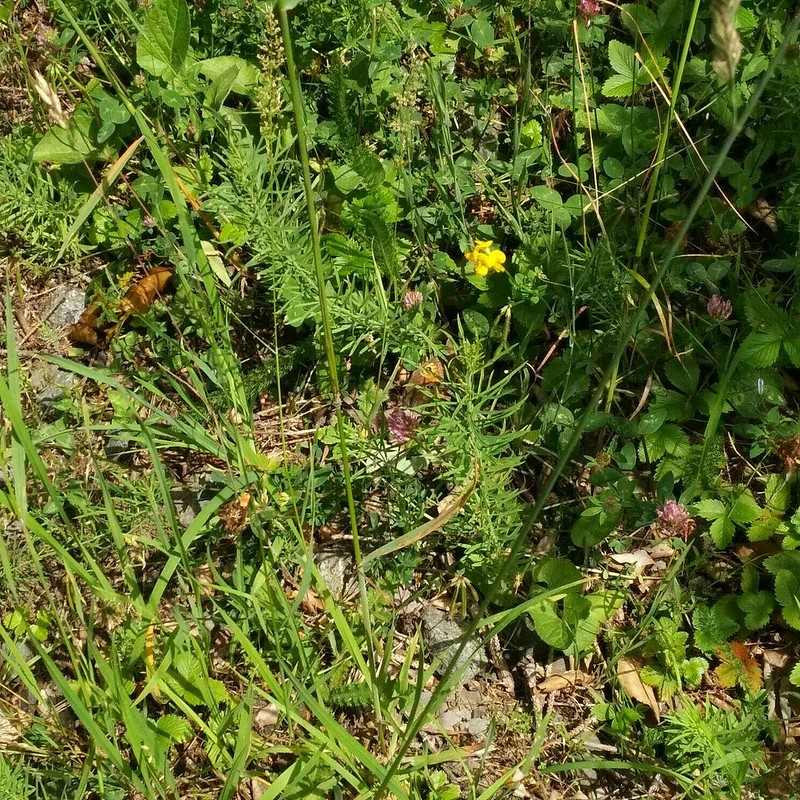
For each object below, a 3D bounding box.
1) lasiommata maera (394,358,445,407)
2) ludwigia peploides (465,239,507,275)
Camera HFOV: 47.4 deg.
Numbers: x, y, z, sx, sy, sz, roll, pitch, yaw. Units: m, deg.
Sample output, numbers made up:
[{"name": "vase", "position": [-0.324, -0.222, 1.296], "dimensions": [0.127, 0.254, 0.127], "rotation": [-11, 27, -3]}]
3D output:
[{"name": "lasiommata maera", "position": [0.050, -0.051, 2.639], "dimensions": [0.128, 0.090, 0.125], "rotation": [8, 49, 43]}, {"name": "ludwigia peploides", "position": [0.242, -0.399, 2.596], "dimensions": [0.097, 0.054, 0.123], "rotation": [-26, 80, 1]}]
